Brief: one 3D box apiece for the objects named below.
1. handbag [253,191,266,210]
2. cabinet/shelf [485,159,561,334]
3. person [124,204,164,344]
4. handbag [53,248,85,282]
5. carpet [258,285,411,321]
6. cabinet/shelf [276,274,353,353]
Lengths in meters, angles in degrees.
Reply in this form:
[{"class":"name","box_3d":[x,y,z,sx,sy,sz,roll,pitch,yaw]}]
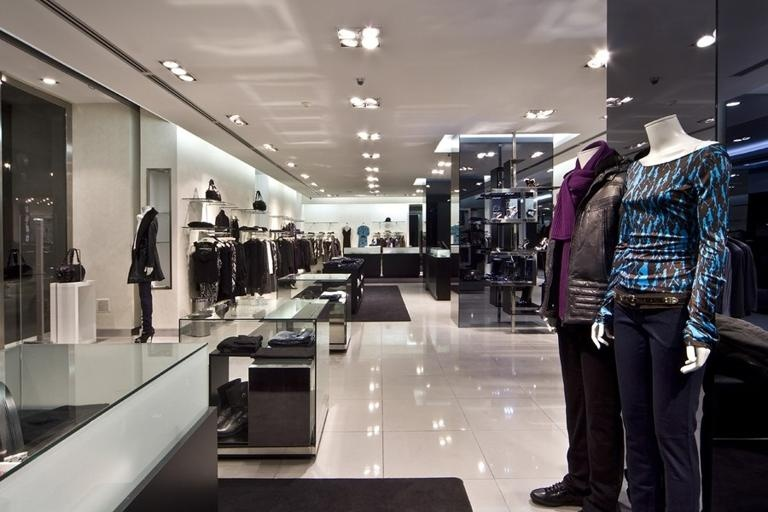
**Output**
[{"class":"handbag","box_3d":[-2.408,-1.069,10.369,0.201,0.377,0.891,-3,11,-13]},{"class":"cabinet/shelf","box_3d":[1.859,-0.379,7.873,0.936,1.535,0.888,1,0,-21]},{"class":"person","box_3d":[-3.027,0.233,6.880,0.290,1.675,0.420,1,11,7]},{"class":"handbag","box_3d":[-3.892,0.126,6.728,0.282,0.394,0.309,1,0,10]},{"class":"carpet","box_3d":[-0.693,0.857,10.489,2.243,0.089,1.906,1,16,-5]},{"class":"cabinet/shelf","box_3d":[-0.827,0.909,6.571,0.780,1.018,1.447,0,-1,3]}]
